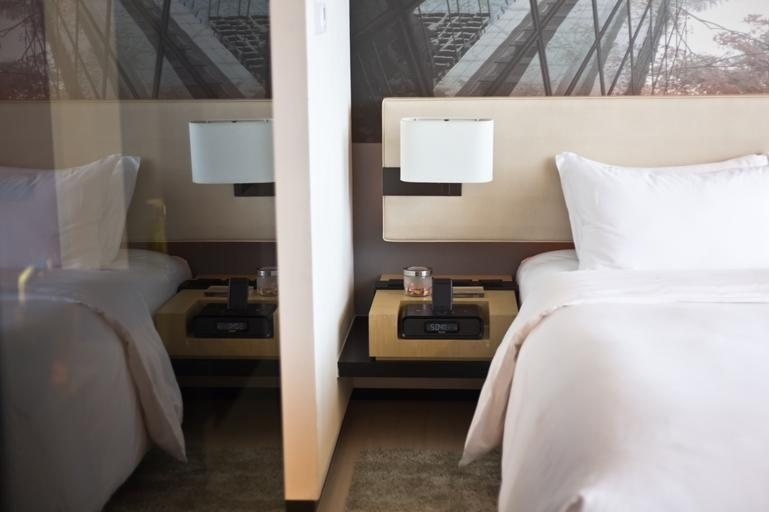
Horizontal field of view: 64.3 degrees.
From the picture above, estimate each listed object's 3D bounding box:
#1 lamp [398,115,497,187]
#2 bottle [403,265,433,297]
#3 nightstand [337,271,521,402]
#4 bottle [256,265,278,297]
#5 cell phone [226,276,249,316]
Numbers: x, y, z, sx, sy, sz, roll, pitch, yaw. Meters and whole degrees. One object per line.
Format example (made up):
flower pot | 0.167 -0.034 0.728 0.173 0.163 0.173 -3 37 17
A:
lamp | 0.293 -0.494 2.795 0.453 0.291 0.236 -1 19 -2
bottle | 0.160 0.121 2.905 0.132 0.121 0.130 2 6 17
nightstand | 0.225 0.329 2.852 0.811 0.362 0.559 1 13 4
bottle | -0.386 0.088 2.017 0.081 0.071 0.079 -3 9 -24
cell phone | -0.434 0.110 1.820 0.051 0.082 0.010 2 -4 -16
